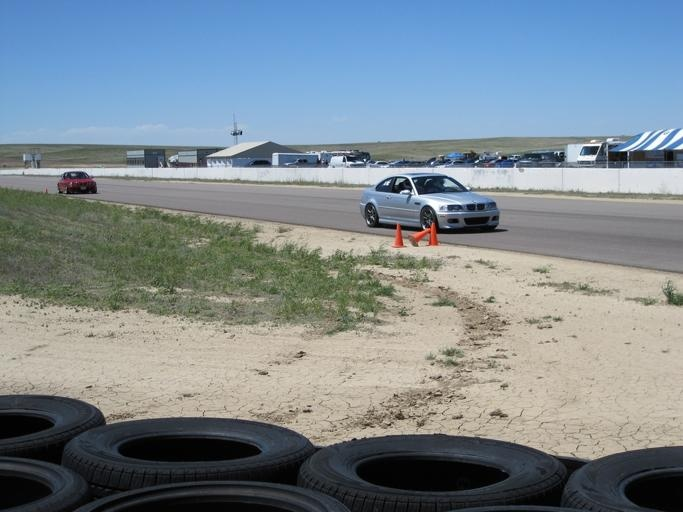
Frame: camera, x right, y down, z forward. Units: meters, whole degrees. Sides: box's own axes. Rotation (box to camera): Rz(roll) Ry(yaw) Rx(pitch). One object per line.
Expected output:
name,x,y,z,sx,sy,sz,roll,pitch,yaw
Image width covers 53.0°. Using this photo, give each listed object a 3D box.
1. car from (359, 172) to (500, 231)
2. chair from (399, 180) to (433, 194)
car,2.556,-1.700,21.695,2.297,1.814,4.236,-8,13,-35
chair,2.317,-2.121,20.844,0.775,0.224,0.597,-3,-5,45
